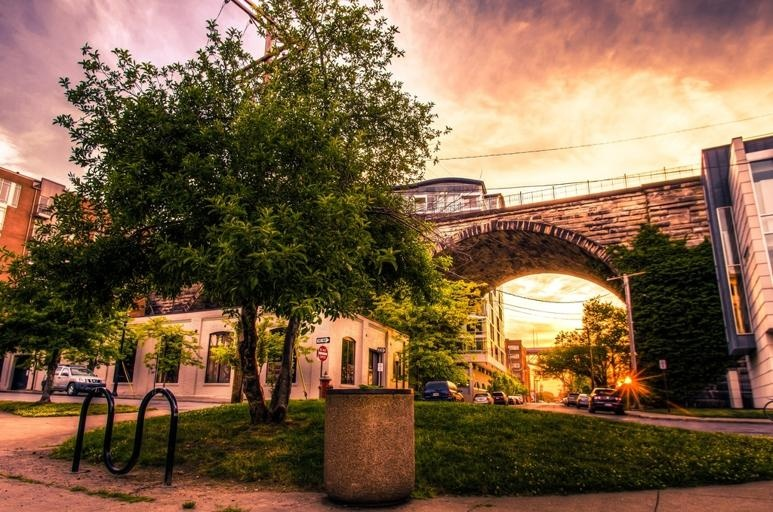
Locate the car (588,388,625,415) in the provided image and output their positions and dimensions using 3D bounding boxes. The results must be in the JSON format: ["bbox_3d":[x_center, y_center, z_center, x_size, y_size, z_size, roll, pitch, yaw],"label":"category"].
[{"bbox_3d":[14.334,9.645,30.509,1.383,1.695,2.371,2,-5,-12],"label":"car"}]

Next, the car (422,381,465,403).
[{"bbox_3d":[4.229,9.494,33.213,1.700,1.220,3.270,-5,-10,32],"label":"car"}]

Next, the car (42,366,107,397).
[{"bbox_3d":[-22.157,8.980,33.478,4.137,2.043,2.171,-4,-7,40],"label":"car"}]

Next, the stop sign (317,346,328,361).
[{"bbox_3d":[-3.263,4.946,23.708,0.414,0.677,1.134,2,-5,-13],"label":"stop sign"}]

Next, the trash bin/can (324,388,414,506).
[{"bbox_3d":[-0.219,4.068,10.216,2.285,2.324,2.224,3,-20,-9],"label":"trash bin/can"}]
